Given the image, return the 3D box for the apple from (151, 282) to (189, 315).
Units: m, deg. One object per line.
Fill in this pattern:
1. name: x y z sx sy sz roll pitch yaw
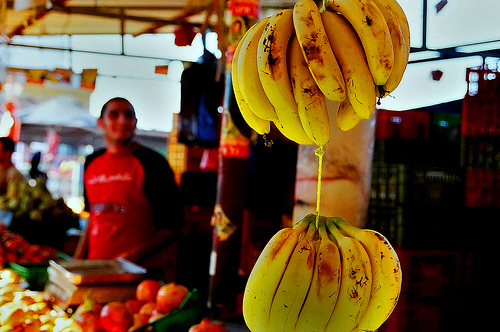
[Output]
1. apple: -0.475 0.797 3.241 0.170 0.183 0.168 -17 -30 37

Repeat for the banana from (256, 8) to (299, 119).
1. banana: 0.130 -0.466 2.487 0.125 0.504 0.149 -14 21 -31

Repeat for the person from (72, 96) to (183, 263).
1. person: -0.956 0.103 4.315 0.854 1.312 0.421 2 1 -7

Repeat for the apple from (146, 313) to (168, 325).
1. apple: -0.546 0.881 3.120 0.080 0.028 0.080 -11 18 44
